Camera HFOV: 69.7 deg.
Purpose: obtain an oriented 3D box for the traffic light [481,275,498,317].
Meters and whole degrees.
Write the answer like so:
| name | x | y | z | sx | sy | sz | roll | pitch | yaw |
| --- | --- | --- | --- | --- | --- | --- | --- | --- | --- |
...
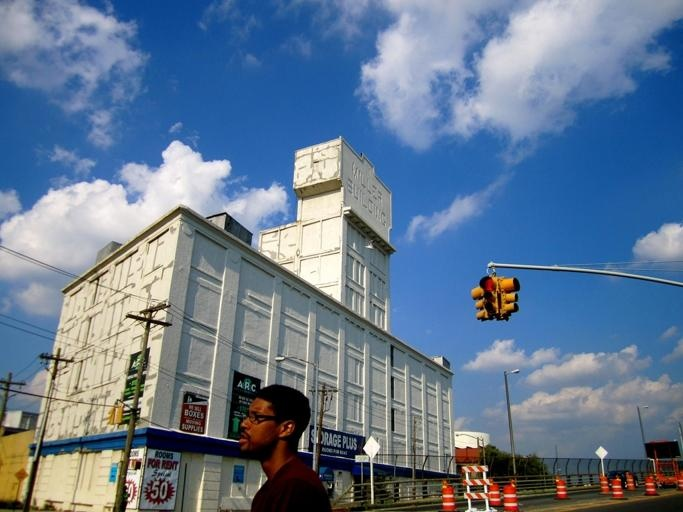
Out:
| name | x | y | z | sx | sy | sz | roll | pitch | yaw |
| --- | --- | --- | --- | --- | --- | --- | --- | --- | --- |
| traffic light | 5.428 | 1.448 | 17.853 | 0.539 | 1.518 | 0.653 | -4 | -31 | 4 |

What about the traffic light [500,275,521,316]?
| name | x | y | z | sx | sy | sz | roll | pitch | yaw |
| --- | --- | --- | --- | --- | --- | --- | --- | --- | --- |
| traffic light | 6.078 | 1.434 | 17.611 | 0.758 | 1.367 | 0.543 | -13 | -33 | 18 |
